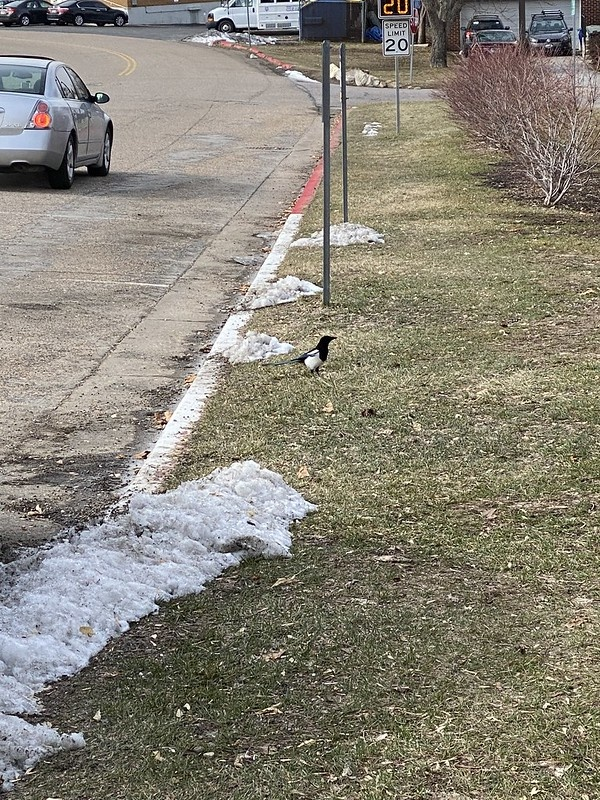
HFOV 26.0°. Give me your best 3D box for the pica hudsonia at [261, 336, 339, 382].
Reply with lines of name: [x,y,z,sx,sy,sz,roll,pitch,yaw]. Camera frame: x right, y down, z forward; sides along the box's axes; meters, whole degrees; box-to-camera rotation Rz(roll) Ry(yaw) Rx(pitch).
pica hudsonia: [0.027,-0.309,8.325,0.398,0.236,0.595,-6,12,-21]

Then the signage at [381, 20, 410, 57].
signage: [1.576,-6.001,21.470,0.440,0.548,0.520,0,11,6]

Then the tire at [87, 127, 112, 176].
tire: [-2.795,-3.427,17.858,0.228,0.645,0.673,4,10,14]
